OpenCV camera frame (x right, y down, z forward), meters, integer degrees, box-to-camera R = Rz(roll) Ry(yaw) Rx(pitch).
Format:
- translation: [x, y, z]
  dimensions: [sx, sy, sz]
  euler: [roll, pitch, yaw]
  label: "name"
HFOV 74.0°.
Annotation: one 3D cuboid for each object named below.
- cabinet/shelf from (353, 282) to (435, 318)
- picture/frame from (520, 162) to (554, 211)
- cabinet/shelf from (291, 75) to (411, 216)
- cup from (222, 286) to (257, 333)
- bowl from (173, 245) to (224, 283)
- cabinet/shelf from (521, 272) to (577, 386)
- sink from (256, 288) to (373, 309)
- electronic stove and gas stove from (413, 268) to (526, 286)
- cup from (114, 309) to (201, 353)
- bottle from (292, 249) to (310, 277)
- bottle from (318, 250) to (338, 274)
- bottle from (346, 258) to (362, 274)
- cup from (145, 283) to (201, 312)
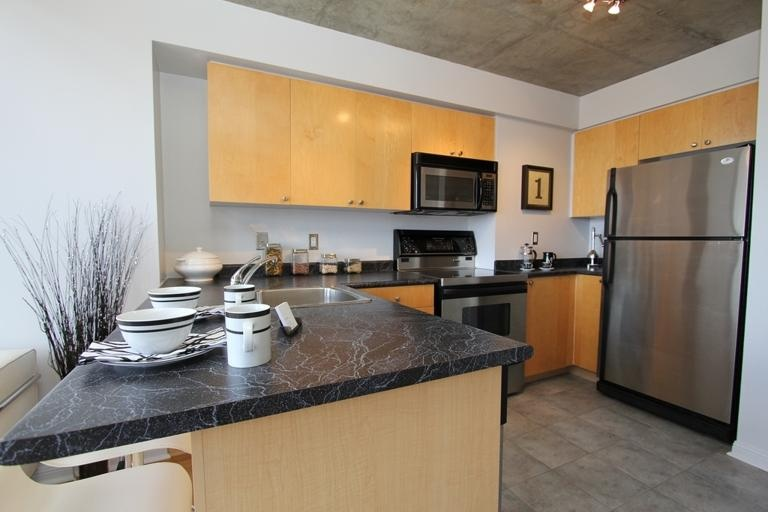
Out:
- translation: [0.139, 0.442, 4.054]
  dimensions: [0.494, 0.443, 0.268]
  euler: [0, 2, -27]
  label: "cabinet/shelf"
- translation: [1.463, -0.667, 4.914]
  dimensions: [0.502, 0.476, 0.071]
  euler: [-1, 2, -30]
  label: "picture/frame"
- translation: [-0.290, -0.931, 4.106]
  dimensions: [1.220, 1.000, 0.460]
  euler: [0, 2, -24]
  label: "cabinet/shelf"
- translation: [-0.708, 0.265, 2.496]
  dimensions: [0.212, 0.191, 0.266]
  euler: [0, 6, -8]
  label: "cup"
- translation: [-1.419, 0.067, 3.894]
  dimensions: [0.367, 0.247, 0.370]
  euler: [0, 3, 0]
  label: "bowl"
- translation: [1.526, 0.610, 4.655]
  dimensions: [0.631, 0.863, 0.170]
  euler: [-5, 9, -37]
  label: "cabinet/shelf"
- translation: [-0.452, 0.290, 3.425]
  dimensions: [0.750, 0.119, 0.345]
  euler: [2, 6, 11]
  label: "sink"
- translation: [0.771, 0.183, 4.485]
  dimensions: [0.965, 0.087, 0.548]
  euler: [-1, 6, -17]
  label: "electronic stove and gas stove"
- translation: [-1.075, 0.304, 2.314]
  dimensions: [0.259, 0.136, 0.255]
  euler: [-1, -3, 0]
  label: "cup"
- translation: [-0.690, 0.048, 4.256]
  dimensions: [0.166, 0.207, 0.137]
  euler: [-2, 7, -19]
  label: "bottle"
- translation: [-0.475, 0.065, 4.322]
  dimensions: [0.137, 0.160, 0.147]
  euler: [-1, 7, -15]
  label: "bottle"
- translation: [-0.261, 0.089, 4.335]
  dimensions: [0.125, 0.118, 0.121]
  euler: [-2, 4, -28]
  label: "bottle"
- translation: [-1.100, 0.232, 2.681]
  dimensions: [0.231, 0.109, 0.329]
  euler: [1, 6, 1]
  label: "cup"
